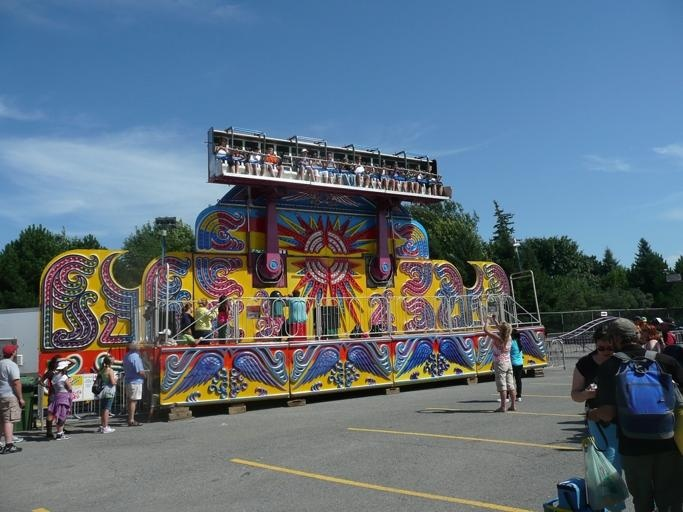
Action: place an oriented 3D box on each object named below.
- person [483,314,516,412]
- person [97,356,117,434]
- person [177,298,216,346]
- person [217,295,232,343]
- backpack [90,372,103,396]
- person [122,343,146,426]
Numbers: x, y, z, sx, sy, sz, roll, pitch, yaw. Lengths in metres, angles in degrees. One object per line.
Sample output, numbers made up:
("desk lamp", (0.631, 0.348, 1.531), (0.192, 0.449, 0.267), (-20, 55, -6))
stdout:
("person", (3.722, 2.564, 15.873), (0.564, 2.017, 1.221), (-4, -7, 13))
("person", (-5.439, 3.192, 15.735), (0.379, 1.709, 1.105), (0, -7, -20))
("person", (-3.865, 1.776, 18.129), (0.944, 1.133, 1.374), (0, -7, -16))
("person", (-3.192, 1.724, 18.492), (0.361, 1.148, 0.992), (-1, -7, -11))
("backpack", (-5.583, 2.962, 15.548), (0.328, 0.487, 0.217), (-5, 6, -15))
("person", (-4.891, 3.035, 16.049), (0.404, 1.970, 0.660), (2, -8, -32))
